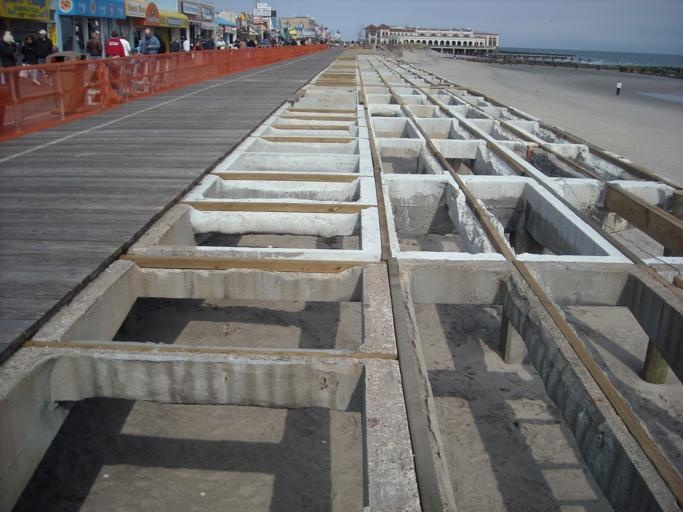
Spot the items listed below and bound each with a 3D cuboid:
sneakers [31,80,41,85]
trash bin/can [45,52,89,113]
[{"bbox_3d":[-6.234,-3.559,9.824,0.054,0.121,0.284,-2,25,-12],"label":"sneakers"},{"bbox_3d":[-6.143,-3.772,10.903,0.459,1.200,1.576,1,25,-5],"label":"trash bin/can"}]
